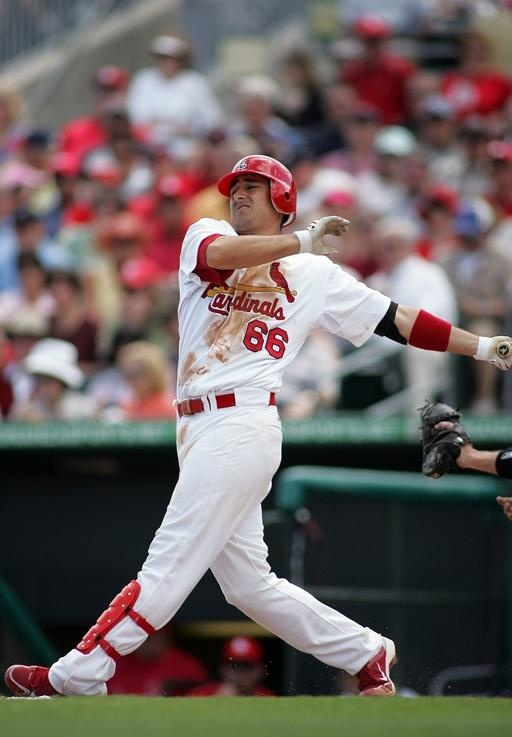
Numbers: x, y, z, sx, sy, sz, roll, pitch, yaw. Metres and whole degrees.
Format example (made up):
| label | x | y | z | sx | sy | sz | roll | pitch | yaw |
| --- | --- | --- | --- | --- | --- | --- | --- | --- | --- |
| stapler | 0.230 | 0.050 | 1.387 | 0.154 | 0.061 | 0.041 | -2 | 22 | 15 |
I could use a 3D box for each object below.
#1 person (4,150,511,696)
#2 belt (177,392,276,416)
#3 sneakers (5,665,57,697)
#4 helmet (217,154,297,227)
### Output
| label | x | y | z | sx | sy | sz | roll | pitch | yaw |
| --- | --- | --- | --- | --- | --- | --- | --- | --- | --- |
| person | -0.045 | 0.169 | 3.775 | 1.492 | 1.951 | 0.433 | 2 | -2 | -19 |
| belt | -0.113 | 0.124 | 3.732 | 0.351 | 0.101 | 0.162 | 1 | -2 | -1 |
| sneakers | -0.753 | 1.043 | 3.541 | 0.247 | 0.070 | 0.096 | 6 | -7 | -3 |
| helmet | 0.044 | -0.693 | 4.033 | 0.332 | 0.218 | 0.217 | 16 | -22 | -5 |
